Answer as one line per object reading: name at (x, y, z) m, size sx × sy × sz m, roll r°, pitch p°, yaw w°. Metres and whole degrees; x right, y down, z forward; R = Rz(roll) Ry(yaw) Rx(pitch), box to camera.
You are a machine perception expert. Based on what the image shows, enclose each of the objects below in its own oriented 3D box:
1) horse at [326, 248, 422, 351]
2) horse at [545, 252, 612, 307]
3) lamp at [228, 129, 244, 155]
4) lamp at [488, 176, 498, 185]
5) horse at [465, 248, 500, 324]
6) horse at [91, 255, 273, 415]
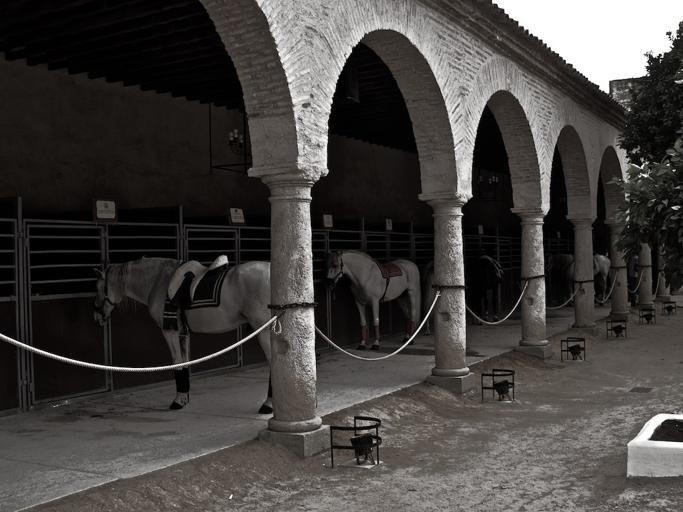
horse at (0.660, 0.783, 12.335) m, size 2.409 × 1.746 × 0.612 m, roll 1°, pitch -4°, yaw -43°
horse at (6.864, 0.610, 19.476) m, size 2.363 × 1.554 × 0.628 m, roll -4°, pitch 13°, yaw -17°
lamp at (-1.965, -2.117, 12.512) m, size 0.179 × 0.561 × 0.475 m, roll 3°, pitch -4°, yaw -37°
lamp at (4.604, -2.345, 20.584) m, size 0.128 × 0.227 × 0.738 m, roll 4°, pitch 7°, yaw 27°
horse at (3.144, 0.651, 15.710) m, size 0.747 × 1.935 × 2.586 m, roll -10°, pitch -11°, yaw 13°
horse at (-1.742, 0.899, 8.265) m, size 2.580 × 1.884 × 0.731 m, roll -3°, pitch -2°, yaw 4°
